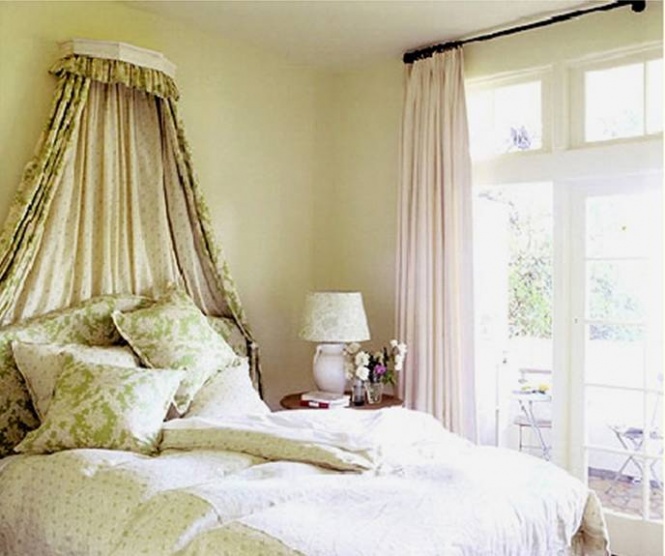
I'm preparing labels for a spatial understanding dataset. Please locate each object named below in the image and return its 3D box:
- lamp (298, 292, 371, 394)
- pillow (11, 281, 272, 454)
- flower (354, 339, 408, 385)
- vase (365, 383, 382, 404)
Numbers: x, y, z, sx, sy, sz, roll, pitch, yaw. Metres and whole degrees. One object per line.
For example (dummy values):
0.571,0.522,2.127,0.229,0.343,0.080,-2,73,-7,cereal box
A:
-0.016,0.416,3.718,0.531,0.797,0.541,0,-6,-10,lamp
-1.009,0.427,2.805,0.804,0.278,0.872,11,17,-31,pillow
0.238,0.520,3.570,0.319,0.298,0.317,8,2,-34,flower
0.250,0.695,3.490,0.105,0.128,0.112,0,-9,1,vase
